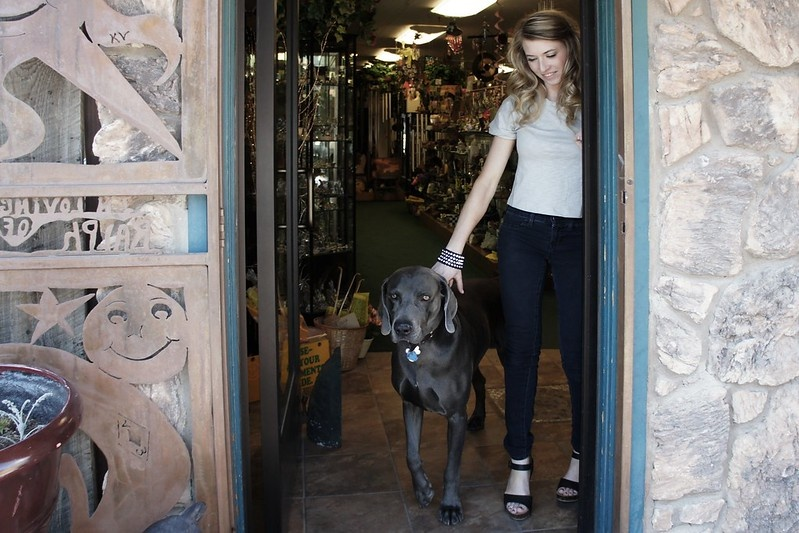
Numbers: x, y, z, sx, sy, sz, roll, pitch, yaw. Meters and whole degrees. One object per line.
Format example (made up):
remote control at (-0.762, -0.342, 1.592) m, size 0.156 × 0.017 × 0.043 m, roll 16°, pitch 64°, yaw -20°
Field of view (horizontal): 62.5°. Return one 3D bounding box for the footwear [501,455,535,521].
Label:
footwear at (0.562, 1.085, 3.141) m, size 0.101 × 0.129 × 0.310 m, roll 0°, pitch 9°, yaw 11°

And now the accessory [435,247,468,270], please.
accessory at (0.246, -0.044, 3.121) m, size 0.114 × 0.068 × 0.090 m, roll 14°, pitch -8°, yaw 43°

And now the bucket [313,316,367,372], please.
bucket at (-0.391, 0.539, 4.621) m, size 0.355 × 0.272 × 0.343 m, roll -1°, pitch 3°, yaw 0°

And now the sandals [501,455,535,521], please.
sandals at (0.549, 1.092, 3.115) m, size 0.101 × 0.129 × 0.310 m, roll 0°, pitch 9°, yaw 11°

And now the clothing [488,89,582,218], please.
clothing at (0.723, -0.509, 3.125) m, size 0.606 × 0.600 × 0.291 m, roll 0°, pitch 1°, yaw -3°
